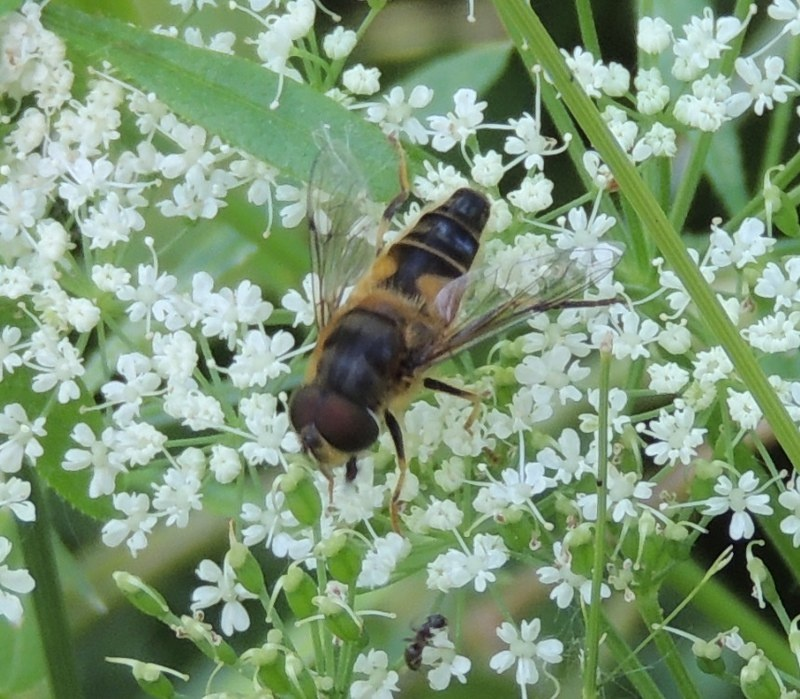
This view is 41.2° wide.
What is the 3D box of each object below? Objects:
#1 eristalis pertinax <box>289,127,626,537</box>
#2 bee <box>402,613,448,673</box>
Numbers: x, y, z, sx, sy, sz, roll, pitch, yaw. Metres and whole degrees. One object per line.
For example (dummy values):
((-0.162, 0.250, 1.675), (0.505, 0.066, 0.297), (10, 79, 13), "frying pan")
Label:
((0.058, -0.029, 1.019), (0.305, 0.256, 0.305), (-4, 37, 5), "eristalis pertinax")
((0.017, 0.278, 1.007), (0.044, 0.021, 0.065), (-23, 0, -1), "bee")
